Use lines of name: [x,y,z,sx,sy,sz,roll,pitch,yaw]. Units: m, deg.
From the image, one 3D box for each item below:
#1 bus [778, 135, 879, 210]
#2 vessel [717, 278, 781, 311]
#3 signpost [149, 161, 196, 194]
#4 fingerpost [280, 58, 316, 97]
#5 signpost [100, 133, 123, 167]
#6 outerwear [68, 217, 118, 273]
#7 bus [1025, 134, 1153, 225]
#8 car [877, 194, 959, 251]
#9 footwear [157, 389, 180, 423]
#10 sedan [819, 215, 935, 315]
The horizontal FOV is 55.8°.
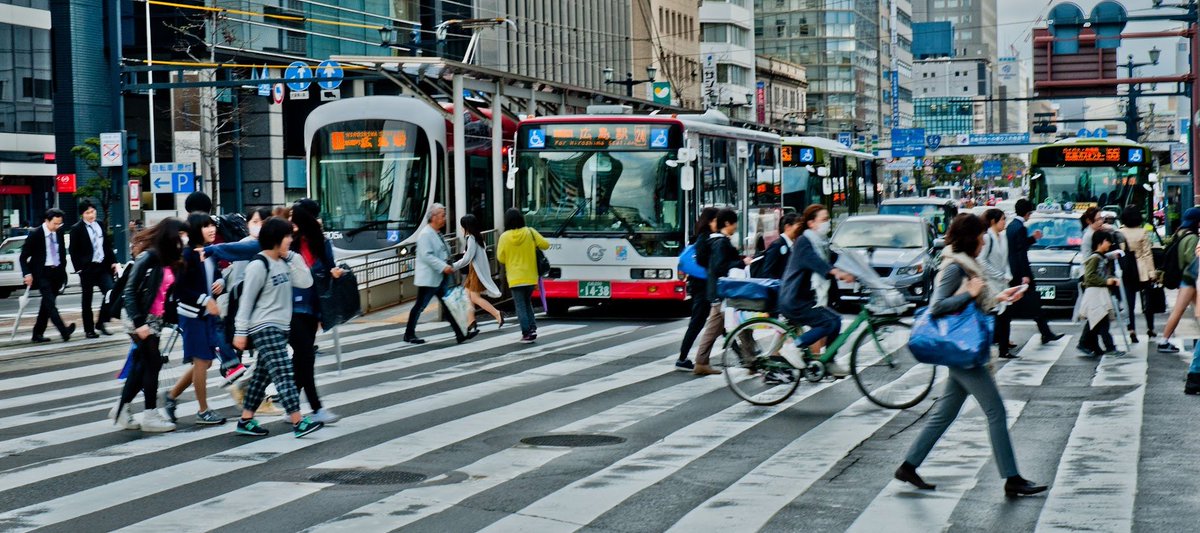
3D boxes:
bus: [10.515,-4.182,53.410,3.217,2.553,10.315,0,0,23]
vessel: [3.093,0.426,23.372,1.257,0.358,0.906,2,2,23]
signpost: [-15.968,-3.279,42.161,1.477,1.063,1.175,-5,7,-15]
fingerpost: [-11.649,-7.353,43.738,0.951,0.979,5.517,-6,7,-13]
signpost: [-17.145,-4.065,39.572,0.954,1.149,0.486,0,9,31]
outerwear: [-13.080,-0.507,28.984,1.003,1.348,0.540,-7,8,-24]
bus: [17.938,-3.146,44.814,6.781,3.762,3.784,-1,2,-22]
car: [11.362,-1.776,41.289,2.497,1.600,3.575,-1,-5,22]
footwear: [-8.312,2.683,21.976,0.343,0.629,0.243,-14,3,13]
sedan: [8.655,-0.638,34.148,3.284,2.076,5.643,3,18,22]
